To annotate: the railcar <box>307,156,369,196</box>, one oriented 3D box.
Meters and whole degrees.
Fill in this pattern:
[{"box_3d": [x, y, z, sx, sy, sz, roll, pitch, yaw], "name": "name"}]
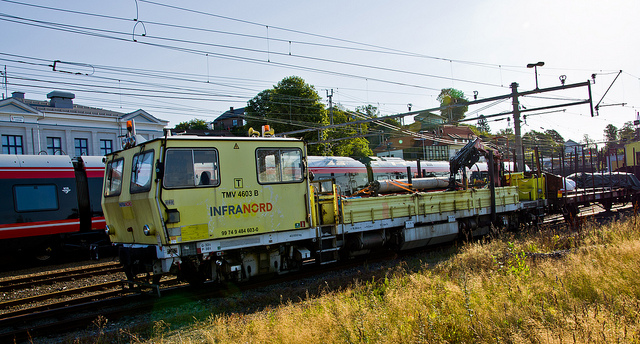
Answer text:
[{"box_3d": [1.103, 0.104, 34.186, 5.867, 2.680, 1.737, 2, -7, -37], "name": "railcar"}]
